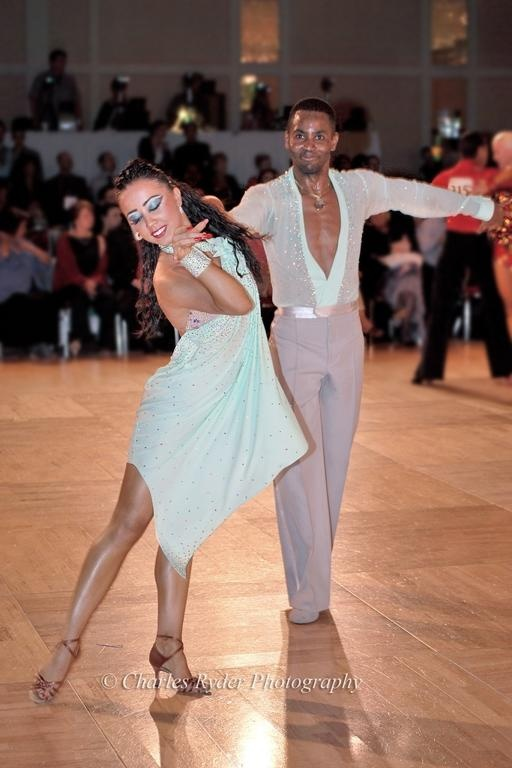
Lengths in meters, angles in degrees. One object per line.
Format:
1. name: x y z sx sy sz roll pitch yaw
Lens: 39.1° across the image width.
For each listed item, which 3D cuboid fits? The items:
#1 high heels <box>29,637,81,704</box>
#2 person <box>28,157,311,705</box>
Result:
1. high heels: -0.484 0.717 1.816 0.083 0.197 0.056 30 1 -2
2. person: -0.224 0.136 1.841 0.634 1.330 0.483 1 3 29
